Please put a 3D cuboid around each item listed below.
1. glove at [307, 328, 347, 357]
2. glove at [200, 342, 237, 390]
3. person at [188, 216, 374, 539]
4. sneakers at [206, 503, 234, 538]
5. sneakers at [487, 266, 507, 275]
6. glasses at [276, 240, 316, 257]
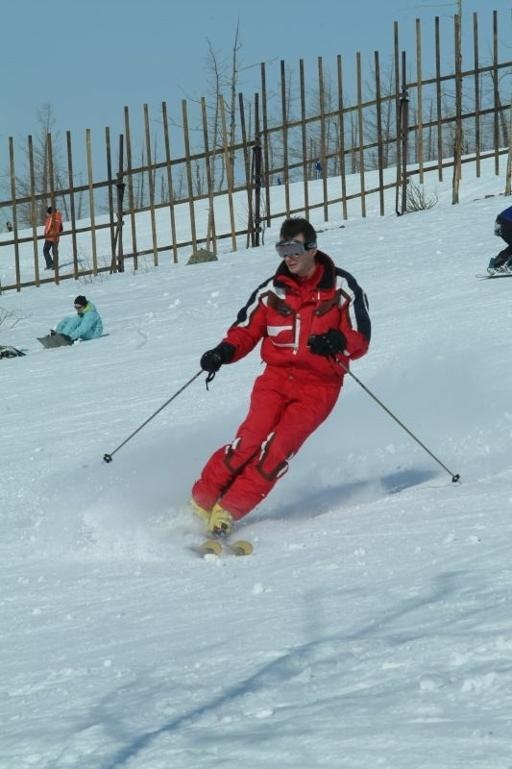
[{"bbox_3d":[0.354,-0.184,4.197,0.238,0.142,0.121,-14,18,-38],"label":"glove"},{"bbox_3d":[-0.193,-0.107,4.405,0.093,0.229,0.139,44,-10,-38],"label":"glove"},{"bbox_3d":[0.119,-0.010,4.349,0.950,1.535,0.580,-5,15,-5],"label":"person"},{"bbox_3d":[-0.172,0.647,4.259,0.109,0.143,0.072,16,-24,-25],"label":"sneakers"},{"bbox_3d":[2.651,-1.241,9.778,0.133,0.048,0.090,0,1,-24],"label":"sneakers"},{"bbox_3d":[0.195,-0.650,4.306,0.192,0.092,0.155,-3,14,0],"label":"glasses"}]
